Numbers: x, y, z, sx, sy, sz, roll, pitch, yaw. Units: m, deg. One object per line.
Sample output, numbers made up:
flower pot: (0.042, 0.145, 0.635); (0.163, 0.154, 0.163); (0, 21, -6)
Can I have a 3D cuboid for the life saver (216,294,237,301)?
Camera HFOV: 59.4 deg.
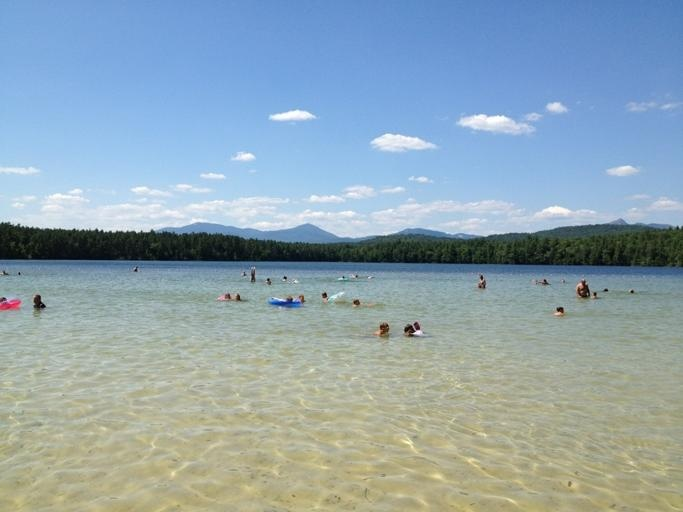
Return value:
life saver: (-8.540, 3.117, 44.817); (0.940, 0.340, 1.031); (1, -6, -5)
